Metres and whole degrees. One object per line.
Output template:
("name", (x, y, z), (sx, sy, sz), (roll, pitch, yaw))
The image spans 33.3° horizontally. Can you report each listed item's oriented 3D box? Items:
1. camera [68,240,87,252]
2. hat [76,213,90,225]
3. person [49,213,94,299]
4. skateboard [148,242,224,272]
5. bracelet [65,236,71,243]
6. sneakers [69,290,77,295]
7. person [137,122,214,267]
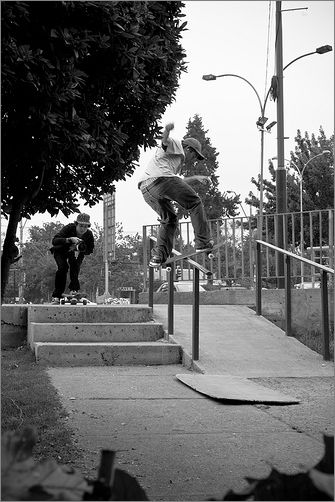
("camera", (-1.387, -0.057, 8.634), (0.165, 0.199, 0.278), (-31, 14, -7))
("hat", (-1.330, -0.492, 8.781), (0.200, 0.184, 0.312), (1, -1, -12))
("person", (-1.538, 0.129, 8.944), (0.674, 1.425, 1.082), (1, -1, -11))
("skateboard", (0.310, 0.087, 8.658), (0.967, 0.221, 0.153), (-28, -54, 25))
("bracelet", (-1.510, -0.159, 8.534), (0.059, 0.063, 0.053), (0, -4, 34))
("sneakers", (-1.587, 0.692, 9.382), (0.048, 0.066, 0.148), (2, -8, -30))
("person", (0.077, -0.567, 6.278), (0.855, 1.536, 1.574), (1, -1, 5))
